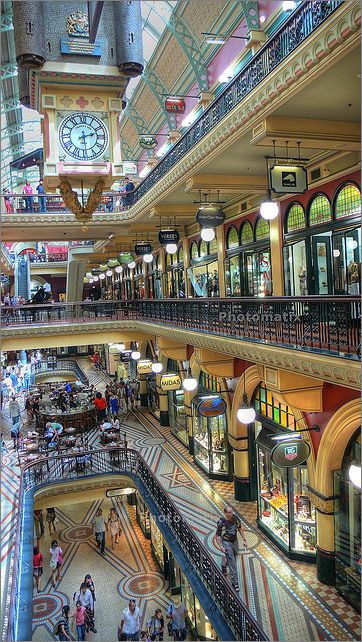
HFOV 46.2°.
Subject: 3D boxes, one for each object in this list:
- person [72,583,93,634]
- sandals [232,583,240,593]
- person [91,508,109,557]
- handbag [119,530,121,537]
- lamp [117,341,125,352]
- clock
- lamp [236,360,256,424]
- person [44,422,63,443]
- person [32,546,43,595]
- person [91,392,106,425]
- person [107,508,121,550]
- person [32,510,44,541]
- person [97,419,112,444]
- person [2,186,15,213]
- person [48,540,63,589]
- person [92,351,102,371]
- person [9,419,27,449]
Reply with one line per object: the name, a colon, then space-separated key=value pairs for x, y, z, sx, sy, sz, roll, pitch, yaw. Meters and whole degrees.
person: x=-2.240 y=6.663 z=9.834 sx=0.376 sy=1.035 sz=0.304 roll=-6 pitch=-6 yaw=-8
sandals: x=0.932 y=4.465 z=7.104 sx=0.078 sy=0.125 sz=0.258 roll=-2 pitch=-20 yaw=-4
person: x=-2.553 y=6.531 z=13.389 sx=0.411 sy=1.588 sz=1.342 roll=-4 pitch=-2 yaw=-12
handbag: x=-2.082 y=7.265 z=14.511 sx=0.096 sy=0.150 sz=0.101 roll=-12 pitch=-2 yaw=-39
lamp: x=-3.074 y=1.390 z=21.717 sx=0.291 sy=0.299 sz=1.106 roll=-5 pitch=-2 yaw=-15
clock: x=-1.750 y=-3.279 z=7.563 sx=0.852 sy=0.993 sz=0.047 roll=-3 pitch=-9 yaw=-14
lamp: x=1.081 y=1.255 z=7.051 sx=0.213 sy=0.902 sz=0.227 roll=2 pitch=-19 yaw=-7
person: x=-4.895 y=4.319 z=16.308 sx=0.599 sy=0.783 sz=1.147 roll=-5 pitch=-2 yaw=-20
person: x=-3.912 y=6.779 z=11.559 sx=0.215 sy=1.110 sz=0.922 roll=-4 pitch=-2 yaw=-24
person: x=-3.593 y=3.861 z=18.819 sx=0.444 sy=0.934 sz=0.951 roll=-4 pitch=-2 yaw=-18
person: x=-2.203 y=6.688 z=13.966 sx=0.390 sy=0.886 sz=1.129 roll=-5 pitch=-2 yaw=-12
person: x=-4.831 y=6.893 z=14.404 sx=0.288 sy=1.149 sz=1.452 roll=-4 pitch=-2 yaw=-21
person: x=-3.001 y=4.288 z=16.442 sx=0.616 sy=0.926 sz=0.658 roll=3 pitch=-6 yaw=-7
person: x=-6.459 y=-4.500 z=15.838 sx=0.343 sy=1.002 sz=1.350 roll=-4 pitch=-2 yaw=-22
person: x=-3.630 y=6.754 z=12.286 sx=0.372 sy=1.237 sz=1.250 roll=-4 pitch=-2 yaw=-19
person: x=-7.108 y=3.487 z=36.087 sx=0.453 sy=1.593 sz=0.700 roll=-29 pitch=38 yaw=-35
person: x=-6.465 y=4.509 z=16.786 sx=0.466 sy=1.090 sz=0.373 roll=-20 pitch=45 yaw=-38
